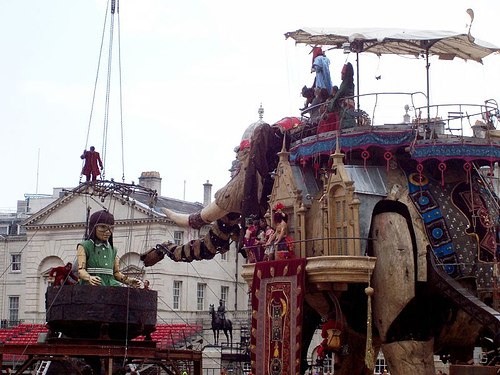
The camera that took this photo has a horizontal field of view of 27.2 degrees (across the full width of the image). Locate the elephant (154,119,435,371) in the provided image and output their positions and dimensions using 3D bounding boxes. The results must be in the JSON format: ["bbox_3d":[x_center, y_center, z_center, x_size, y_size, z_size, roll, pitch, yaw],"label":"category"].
[{"bbox_3d":[3.365,2.718,47.203,18.168,12.144,5.818,0,-12,24],"label":"elephant"}]

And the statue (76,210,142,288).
[{"bbox_3d":[-5.308,2.173,36.984,1.959,2.974,1.151,9,-18,-37],"label":"statue"}]

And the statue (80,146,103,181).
[{"bbox_3d":[-6.179,-0.885,40.377,0.763,1.591,0.502,-1,26,-13],"label":"statue"}]

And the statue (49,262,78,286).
[{"bbox_3d":[-6.605,3.214,36.668,0.646,1.076,0.894,7,-38,3],"label":"statue"}]

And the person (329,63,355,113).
[{"bbox_3d":[3.754,-4.205,43.181,1.058,2.047,1.000,-3,-14,5],"label":"person"}]

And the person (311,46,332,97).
[{"bbox_3d":[3.024,-4.799,44.612,0.725,2.461,0.989,2,10,40],"label":"person"}]
